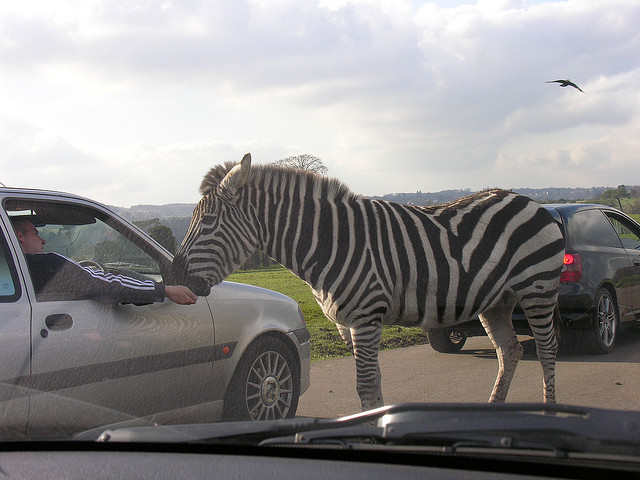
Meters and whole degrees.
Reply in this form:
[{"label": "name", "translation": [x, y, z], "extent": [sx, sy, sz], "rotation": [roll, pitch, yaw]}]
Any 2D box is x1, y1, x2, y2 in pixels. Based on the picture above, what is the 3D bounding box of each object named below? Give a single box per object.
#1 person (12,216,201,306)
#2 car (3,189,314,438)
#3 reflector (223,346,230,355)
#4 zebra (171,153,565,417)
[{"label": "person", "translation": [-1.437, 0.226, 3.245], "extent": [0.843, 0.357, 0.591], "rotation": [8, -9, -35]}, {"label": "car", "translation": [-1.054, 0.569, 3.632], "extent": [2.153, 1.089, 1.299], "rotation": [-1, -3, -38]}, {"label": "reflector", "translation": [-0.687, 0.811, 3.612], "extent": [0.010, 0.044, 0.044], "rotation": [-3, -10, 43]}, {"label": "zebra", "translation": [0.388, 0.452, 4.156], "extent": [2.377, 1.675, 0.741], "rotation": [-1, -2, 0]}]
